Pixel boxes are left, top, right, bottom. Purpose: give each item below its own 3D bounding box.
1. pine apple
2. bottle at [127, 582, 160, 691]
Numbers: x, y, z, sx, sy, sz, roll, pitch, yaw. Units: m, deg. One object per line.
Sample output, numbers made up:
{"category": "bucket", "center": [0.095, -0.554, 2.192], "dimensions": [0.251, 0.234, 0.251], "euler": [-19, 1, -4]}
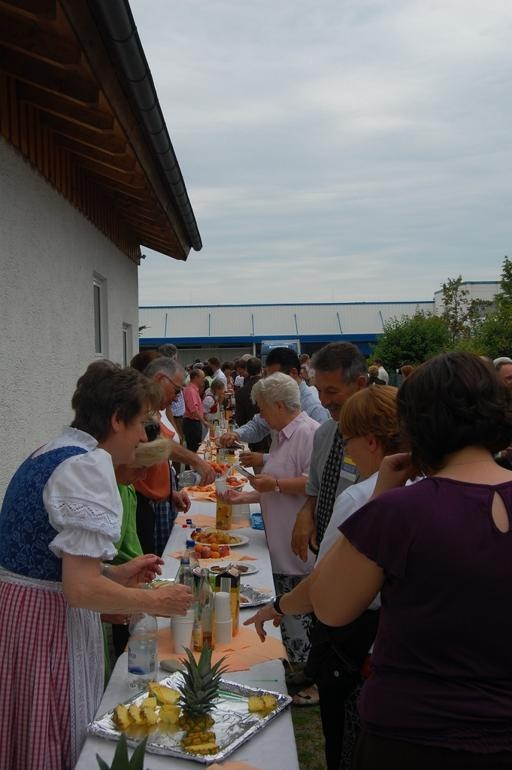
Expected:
{"category": "pine apple", "center": [-0.176, 0.863, 1.725], "dimensions": [0.397, 0.237, 0.464], "euler": [-4, -3, 26]}
{"category": "bottle", "center": [-0.366, 0.864, 1.976], "dimensions": [0.080, 0.245, 0.109], "euler": [0, 1, 11]}
